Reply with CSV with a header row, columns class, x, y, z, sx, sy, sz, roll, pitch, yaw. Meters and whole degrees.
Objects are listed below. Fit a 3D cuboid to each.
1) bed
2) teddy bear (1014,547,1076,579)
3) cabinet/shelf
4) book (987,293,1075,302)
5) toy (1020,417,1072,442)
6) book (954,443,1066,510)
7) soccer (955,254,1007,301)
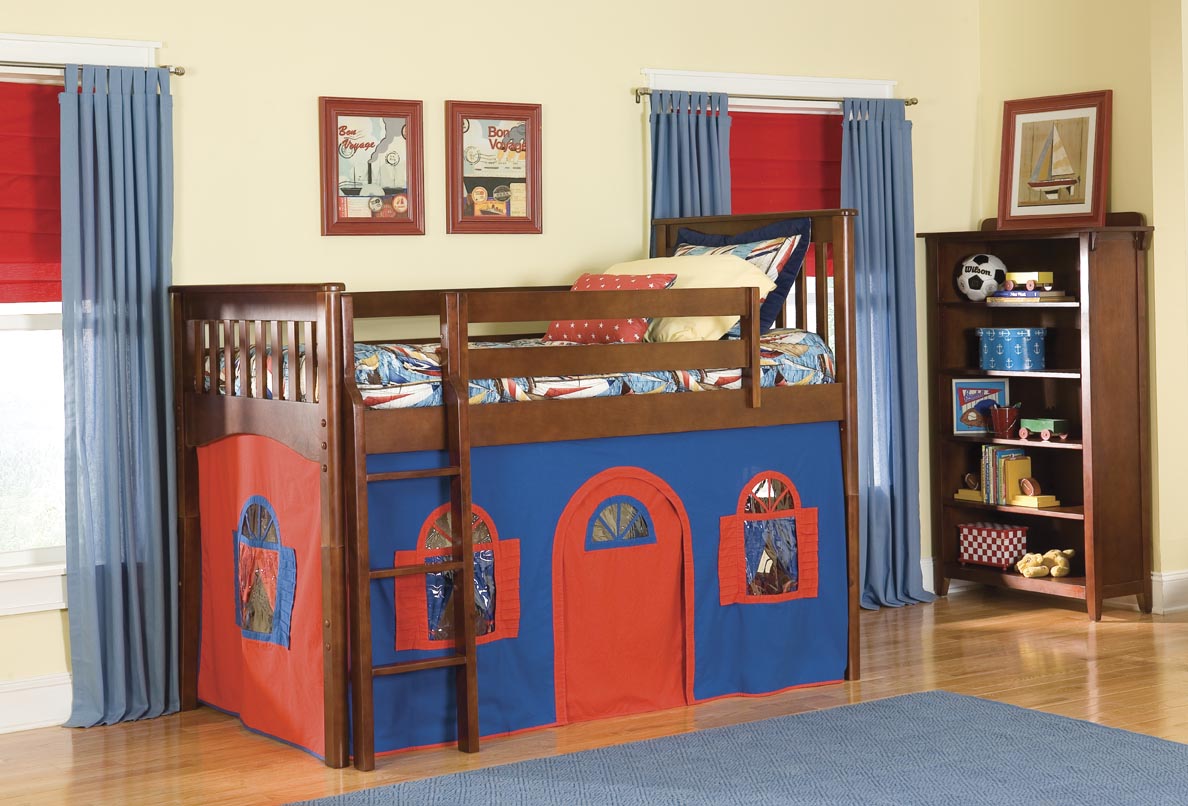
class,x,y,z,sx,sy,sz,roll,pitch,yaw
bed,-0.240,0.299,4.638,2.418,1.716,1.423,0,-2,-34
teddy bear,2.236,0.798,5.545,0.302,0.128,0.209,-1,6,7
cabinet/shelf,2.174,0.040,5.547,0.573,1.902,1.030,-6,8,-38
book,2.091,-0.514,5.433,0.362,0.054,0.169,0,6,15
toy,2.192,0.110,5.490,0.127,0.078,0.165,0,0,-43
book,2.053,0.336,5.654,0.364,0.157,0.355,-1,4,-33
soccer,1.923,-0.635,5.594,0.228,0.235,0.241,0,11,23
